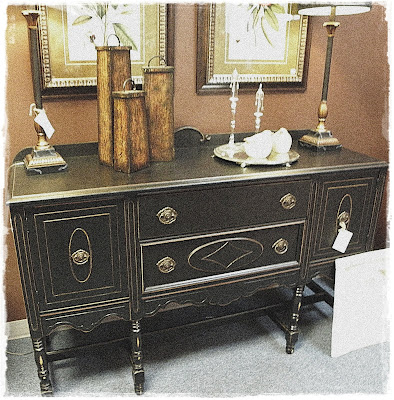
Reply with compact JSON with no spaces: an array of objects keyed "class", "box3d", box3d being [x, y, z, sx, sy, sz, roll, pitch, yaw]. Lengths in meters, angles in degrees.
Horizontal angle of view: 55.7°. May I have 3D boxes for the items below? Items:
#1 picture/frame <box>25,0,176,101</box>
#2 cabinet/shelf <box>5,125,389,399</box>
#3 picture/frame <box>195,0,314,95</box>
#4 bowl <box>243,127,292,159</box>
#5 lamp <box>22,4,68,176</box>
[{"class":"picture/frame","box3d":[-0.371,-0.541,1.357,0.381,0.372,0.021,-7,18,-20]},{"class":"cabinet/shelf","box3d":[-0.014,0.244,1.416,0.868,0.669,0.303,-10,32,-16]},{"class":"picture/frame","box3d":[0.233,-0.671,1.627,0.391,0.327,0.021,-7,24,-16]},{"class":"bowl","box3d":[0.278,-0.224,1.487,0.160,0.091,0.128,-8,35,-23]},{"class":"lamp","box3d":[-0.561,-0.363,1.277,0.137,0.513,0.272,-10,24,-21]}]
